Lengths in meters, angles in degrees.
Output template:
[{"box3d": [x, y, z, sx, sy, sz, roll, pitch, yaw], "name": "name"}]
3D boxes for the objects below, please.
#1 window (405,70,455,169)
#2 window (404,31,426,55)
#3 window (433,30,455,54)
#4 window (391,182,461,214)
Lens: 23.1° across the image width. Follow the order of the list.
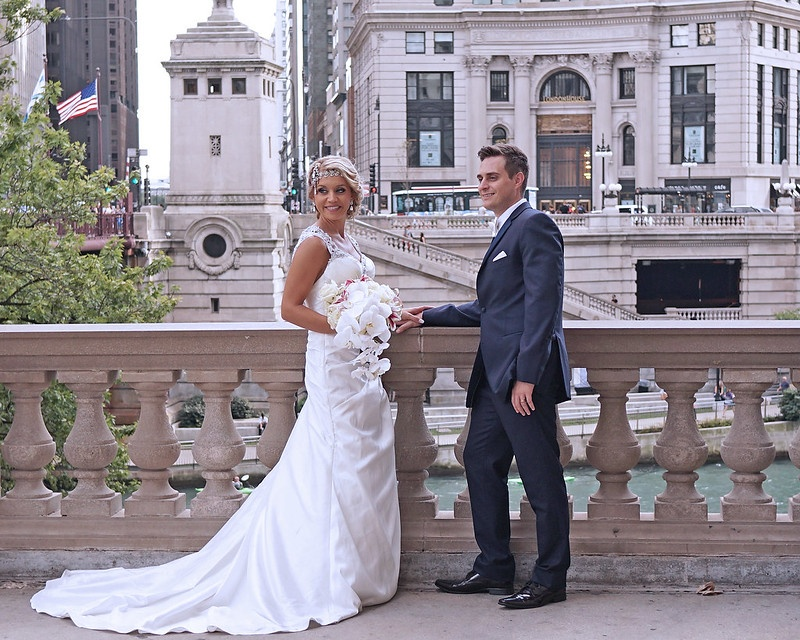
[{"box3d": [1.723, -11.941, 115.944, 2.994, 6.306, 0.312, -1, 29, 0], "name": "window"}, {"box3d": [0.862, -16.454, 115.065, 1.297, 1.429, 0.064, 0, 3, -1], "name": "window"}, {"box3d": [2.490, -16.421, 114.852, 1.219, 1.408, 0.117, -2, -3, 3], "name": "window"}, {"box3d": [1.673, -6.364, 101.196, 4.328, 1.595, 1.441, -2, 4, 1], "name": "window"}]
